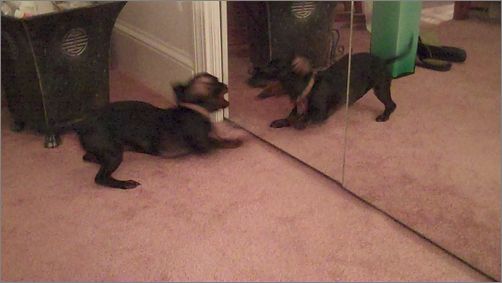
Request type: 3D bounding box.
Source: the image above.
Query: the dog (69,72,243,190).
[{"bbox_3d":[-0.825,-0.167,3.678,1.736,0.864,0.710,-12,43,-9],"label":"dog"}]

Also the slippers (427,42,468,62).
[{"bbox_3d":[1.340,-0.637,2.799,0.313,0.104,0.125,9,16,18],"label":"slippers"}]
